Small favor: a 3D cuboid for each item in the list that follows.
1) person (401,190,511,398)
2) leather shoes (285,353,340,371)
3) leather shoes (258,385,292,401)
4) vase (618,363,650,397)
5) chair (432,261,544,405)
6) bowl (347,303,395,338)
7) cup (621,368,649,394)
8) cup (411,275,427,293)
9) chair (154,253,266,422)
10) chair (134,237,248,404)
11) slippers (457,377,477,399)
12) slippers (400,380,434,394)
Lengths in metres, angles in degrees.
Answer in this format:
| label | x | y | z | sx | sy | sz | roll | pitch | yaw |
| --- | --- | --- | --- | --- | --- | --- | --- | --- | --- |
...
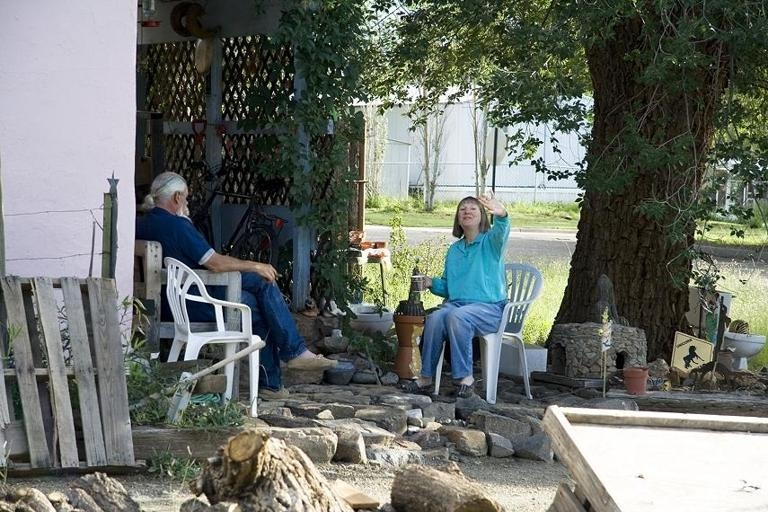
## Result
| label | x | y | z | sx | sy | sz | roll | pitch | yaw |
| --- | --- | --- | --- | --- | --- | --- | --- | --- | --- |
| person | 0.763 | 0.362 | 8.290 | 0.901 | 1.908 | 0.815 | 0 | 3 | 15 |
| leather shoes | -0.676 | 1.004 | 7.970 | 0.496 | 0.180 | 0.185 | -2 | -5 | -4 |
| leather shoes | -1.010 | 1.254 | 7.765 | 0.285 | 0.135 | 0.108 | -1 | 4 | -15 |
| vase | 2.421 | 1.200 | 8.219 | 0.237 | 0.254 | 0.238 | -2 | -5 | 24 |
| chair | 1.030 | 0.737 | 8.445 | 1.038 | 1.370 | 1.059 | 5 | -2 | -17 |
| bowl | -0.135 | 0.715 | 9.349 | 0.480 | 0.328 | 0.630 | 0 | 2 | -3 |
| cup | 2.401 | 1.194 | 8.097 | 0.208 | 0.226 | 0.243 | 0 | 2 | 17 |
| cup | 0.346 | 0.271 | 8.455 | 0.131 | 0.170 | 0.238 | -1 | -1 | 14 |
| chair | -1.498 | 0.672 | 7.229 | 0.927 | 1.300 | 0.864 | 3 | 3 | 44 |
| chair | -1.843 | 0.510 | 7.888 | 1.171 | 1.796 | 1.142 | 0 | 0 | -12 |
| slippers | 0.768 | 1.241 | 7.937 | 0.161 | 0.174 | 0.415 | 0 | 2 | 5 |
| slippers | 0.326 | 1.294 | 8.274 | 0.305 | 0.101 | 0.128 | 13 | -11 | -27 |
